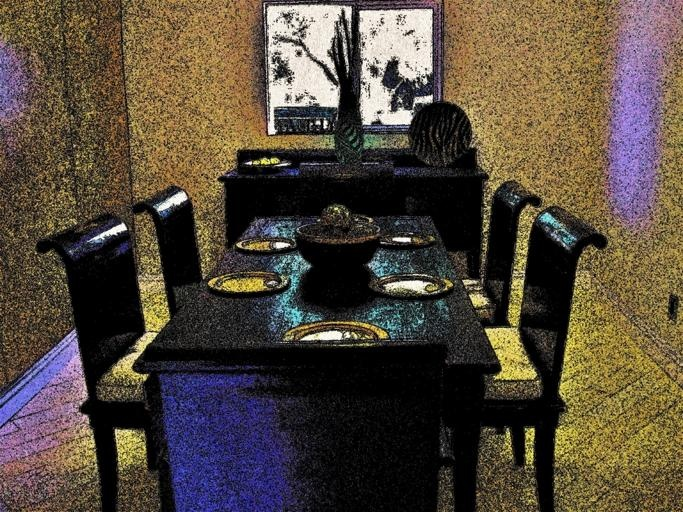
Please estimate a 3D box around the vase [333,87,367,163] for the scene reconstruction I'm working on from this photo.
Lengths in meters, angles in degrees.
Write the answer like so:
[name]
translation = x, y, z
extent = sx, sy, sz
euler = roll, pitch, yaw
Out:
[vase]
translation = 0.031, -0.718, 3.592
extent = 0.137, 0.427, 0.122
euler = -16, 26, -38
